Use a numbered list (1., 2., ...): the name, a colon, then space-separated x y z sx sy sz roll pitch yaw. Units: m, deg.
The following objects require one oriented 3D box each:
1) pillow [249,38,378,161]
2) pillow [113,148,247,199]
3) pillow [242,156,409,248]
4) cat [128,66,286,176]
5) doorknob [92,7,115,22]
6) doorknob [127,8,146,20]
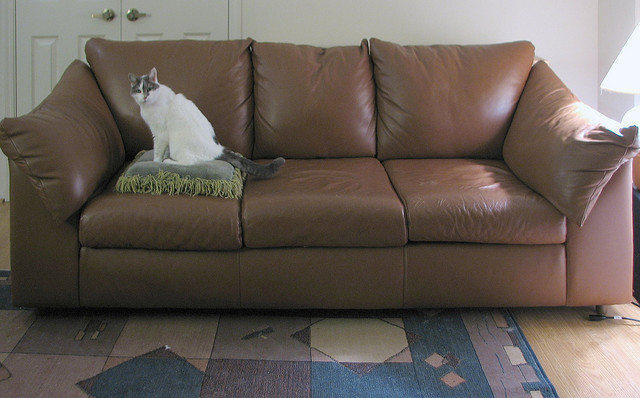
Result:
1. pillow: -0.052 -0.605 3.414 0.822 0.794 0.263 1 2 -3
2. pillow: -0.776 -0.110 3.223 0.757 0.144 0.789 2 3 12
3. pillow: 0.013 0.023 3.077 0.618 0.228 0.557 -1 25 0
4. cat: -0.695 -0.374 3.126 1.030 0.499 0.301 20 20 15
5. doorknob: -1.612 -1.371 3.976 0.166 0.096 0.040 3 24 5
6. doorknob: -1.362 -1.377 3.970 0.130 0.078 0.040 -6 25 -16
